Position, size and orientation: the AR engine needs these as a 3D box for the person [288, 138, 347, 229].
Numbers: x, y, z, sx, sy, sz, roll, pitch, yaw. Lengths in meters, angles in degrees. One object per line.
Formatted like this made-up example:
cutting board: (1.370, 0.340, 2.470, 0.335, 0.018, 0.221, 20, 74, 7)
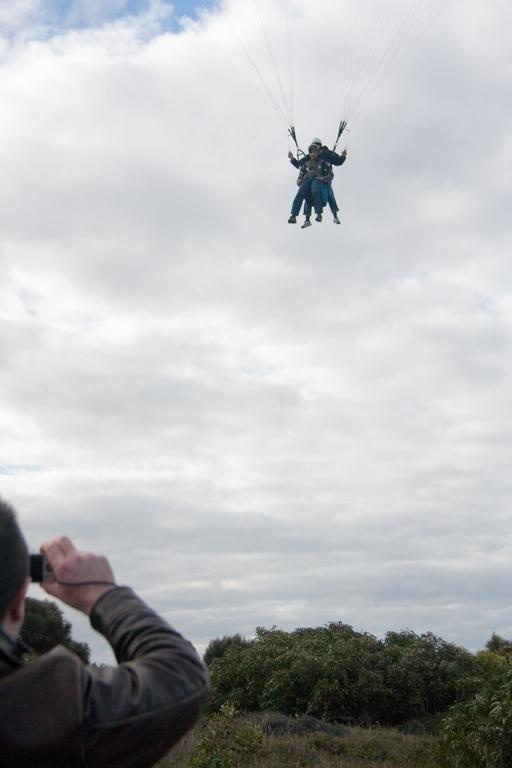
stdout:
person: (1.009, -3.320, 13.647, 0.773, 1.573, 0.806, 7, -15, -25)
